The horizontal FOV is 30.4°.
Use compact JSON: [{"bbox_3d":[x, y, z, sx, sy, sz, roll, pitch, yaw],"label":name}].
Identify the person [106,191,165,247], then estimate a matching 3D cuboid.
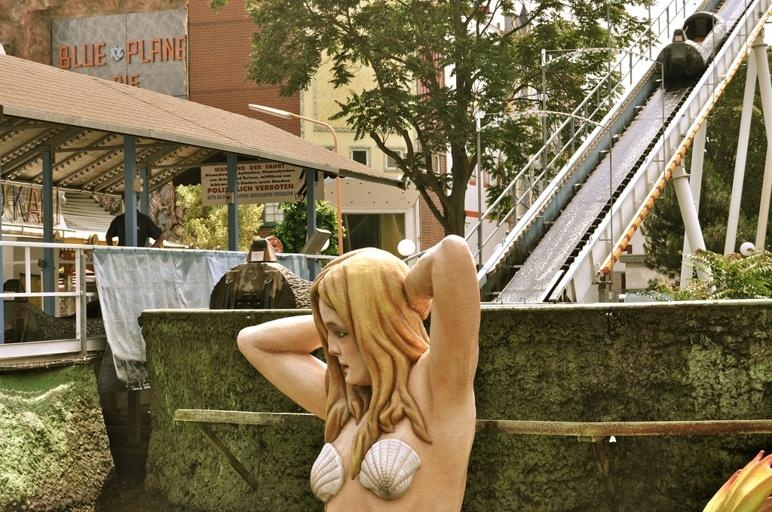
[{"bbox_3d":[-5.743,-0.440,32.307,1.321,1.325,0.463,0,-22,-8],"label":"person"}]
